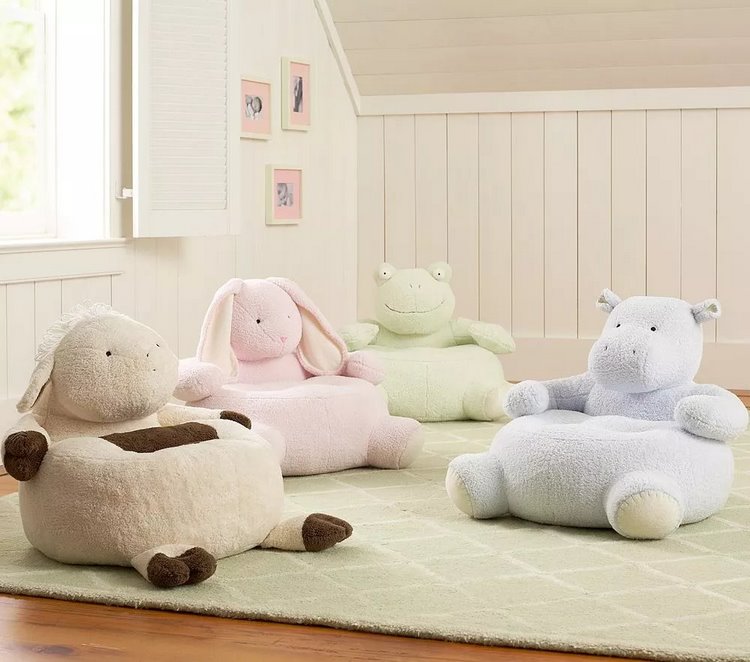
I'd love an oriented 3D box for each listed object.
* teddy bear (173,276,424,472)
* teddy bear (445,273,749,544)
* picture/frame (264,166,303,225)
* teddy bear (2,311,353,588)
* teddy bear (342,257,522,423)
[{"bbox_3d":[-0.349,0.103,2.849,0.744,0.490,0.734,2,0,-37],"label":"teddy bear"},{"bbox_3d":[0.600,0.169,2.329,0.668,0.487,0.748,3,4,43],"label":"teddy bear"},{"bbox_3d":[-0.468,-0.670,4.330,0.043,0.287,0.365,6,7,29],"label":"picture/frame"},{"bbox_3d":[-0.498,0.217,1.954,0.690,0.420,0.671,0,0,28],"label":"teddy bear"},{"bbox_3d":[0.216,0.033,3.661,0.786,0.458,0.738,0,3,-4],"label":"teddy bear"}]
